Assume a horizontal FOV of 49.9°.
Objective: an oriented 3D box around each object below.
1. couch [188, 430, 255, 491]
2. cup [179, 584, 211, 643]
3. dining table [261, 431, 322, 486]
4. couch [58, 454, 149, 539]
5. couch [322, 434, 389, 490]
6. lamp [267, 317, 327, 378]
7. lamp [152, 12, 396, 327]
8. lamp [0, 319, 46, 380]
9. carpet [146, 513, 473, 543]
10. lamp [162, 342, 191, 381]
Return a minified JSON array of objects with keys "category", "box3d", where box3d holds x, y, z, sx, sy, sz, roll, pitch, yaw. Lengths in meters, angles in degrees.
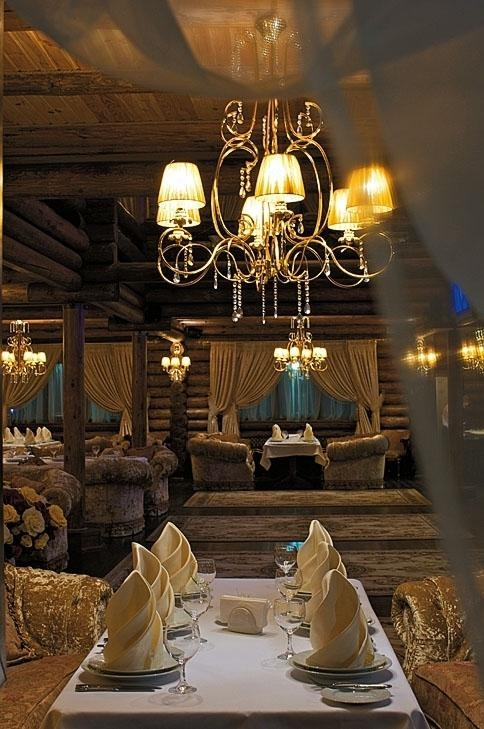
[{"category":"couch","box3d":[-0.289,1.853,11.140,1.401,1.141,1.873,-2,10,15]},{"category":"cup","box3d":[-0.170,0.905,1.903,0.113,0.231,0.110,2,-4,0]},{"category":"dining table","box3d":[1.060,2.030,10.966,1.296,1.014,1.279,-1,-5,4]},{"category":"couch","box3d":[-1.827,1.755,7.224,1.070,0.991,1.032,1,-4,2]},{"category":"couch","box3d":[2.263,1.996,10.649,1.026,0.990,1.123,2,-10,6]},{"category":"lamp","box3d":[1.164,-0.457,10.411,1.097,1.311,1.108,-1,2,-19]},{"category":"lamp","box3d":[0.187,-1.410,3.653,1.605,2.184,1.483,-3,8,-32]},{"category":"lamp","box3d":[-4.897,-0.345,11.743,0.873,1.302,5.561,1,-5,-20]},{"category":"carpet","box3d":[0.642,2.081,6.862,3.259,0.191,1.794,-2,-5,6]},{"category":"lamp","box3d":[-1.594,-0.114,12.760,0.924,1.367,0.416,1,-4,-9]}]
